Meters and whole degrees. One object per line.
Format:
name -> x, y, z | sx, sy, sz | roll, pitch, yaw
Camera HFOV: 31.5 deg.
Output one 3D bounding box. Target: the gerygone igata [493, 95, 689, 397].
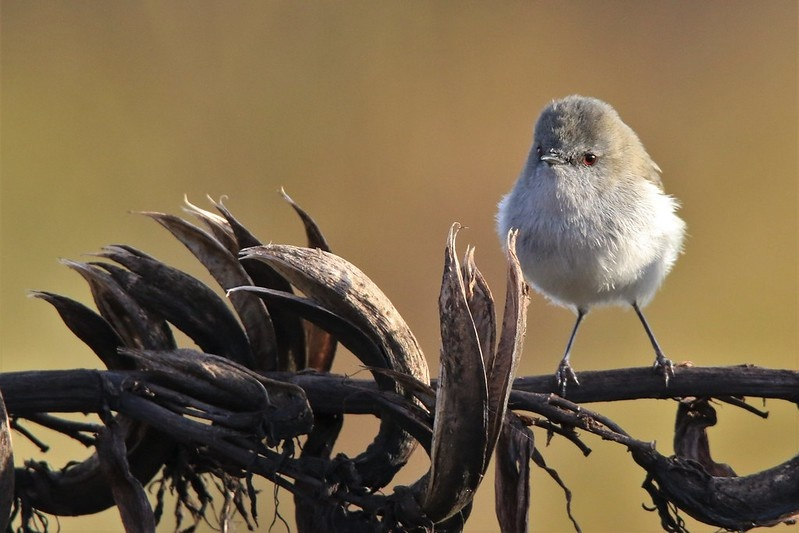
gerygone igata -> 0.533, -0.061, 3.716 | 0.451, 0.808, 0.718 | -1, -86, 23
